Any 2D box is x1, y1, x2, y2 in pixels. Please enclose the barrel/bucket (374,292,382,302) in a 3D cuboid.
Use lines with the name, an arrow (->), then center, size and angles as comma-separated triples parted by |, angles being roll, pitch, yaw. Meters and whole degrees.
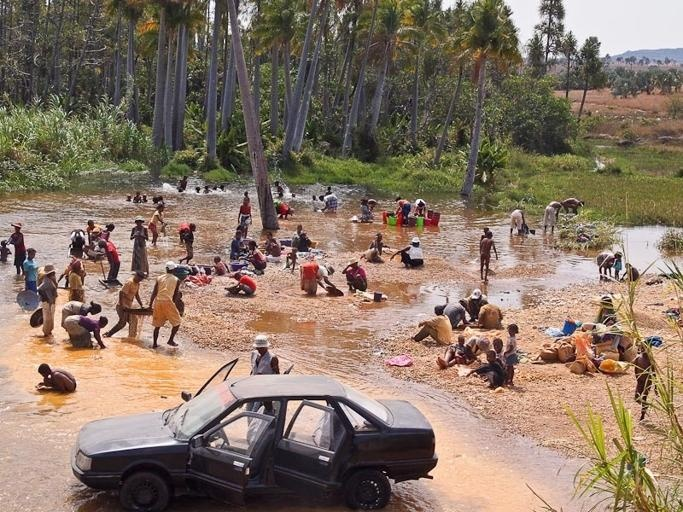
barrel/bucket -> 1.122, 1.247, 25.396 | 0.220, 0.249, 0.256 | 2, 2, -12

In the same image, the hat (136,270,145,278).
hat -> -4.903, 0.472, 20.429 | 0.205, 0.086, 0.234 | 35, 0, 42

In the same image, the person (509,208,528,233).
person -> 8.046, -1.581, 37.812 | 0.660, 1.075, 0.886 | 3, 4, 35

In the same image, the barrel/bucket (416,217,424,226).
barrel/bucket -> 3.656, -1.671, 38.576 | 0.373, 0.522, 0.366 | 7, 27, -4

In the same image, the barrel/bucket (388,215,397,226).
barrel/bucket -> 2.336, -1.671, 38.401 | 0.302, 0.468, 0.465 | -1, 4, -33

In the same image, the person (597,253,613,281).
person -> 9.263, 0.329, 29.062 | 0.561, 0.893, 1.337 | 2, 3, 17

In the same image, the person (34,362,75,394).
person -> -6.098, 2.623, 17.853 | 0.740, 0.618, 0.543 | 2, 1, 8

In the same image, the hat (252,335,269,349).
hat -> -1.682, 1.816, 17.361 | 0.355, 0.187, 0.377 | -2, 22, -9

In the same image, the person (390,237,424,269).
person -> 2.361, -0.144, 29.597 | 1.057, 1.036, 1.219 | 0, 3, -10
